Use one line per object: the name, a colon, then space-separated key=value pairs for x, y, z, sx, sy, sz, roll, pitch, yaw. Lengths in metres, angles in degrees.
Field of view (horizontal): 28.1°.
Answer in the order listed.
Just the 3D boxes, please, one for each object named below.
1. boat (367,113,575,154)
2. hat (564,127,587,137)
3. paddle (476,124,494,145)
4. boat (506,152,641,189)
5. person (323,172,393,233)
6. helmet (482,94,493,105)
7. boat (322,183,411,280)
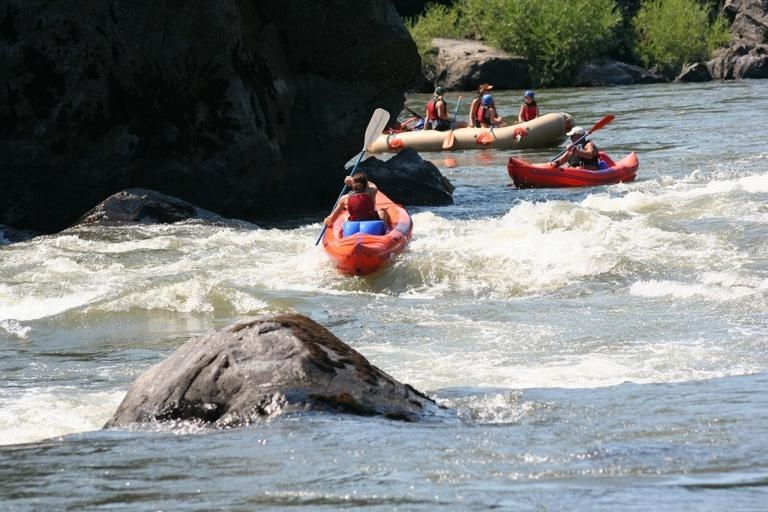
boat: x=1.915 y=-2.801 z=36.165 sx=4.317 sy=0.582 sz=1.842 roll=-3 pitch=4 yaw=19
hat: x=4.003 y=-2.572 z=31.327 sx=0.567 sy=0.185 sz=0.351 roll=-4 pitch=3 yaw=-21
paddle: x=2.300 y=-2.805 z=35.833 sx=0.419 sy=0.349 sz=0.249 roll=-4 pitch=18 yaw=7
boat: x=3.832 y=-1.668 z=30.766 sx=2.132 sy=0.530 sz=0.963 roll=-4 pitch=9 yaw=-12
person: x=-0.504 y=-1.028 z=26.380 sx=0.865 sy=0.531 sz=1.148 roll=-2 pitch=18 yaw=-1
helmet: x=2.383 y=-3.735 z=36.377 sx=0.230 sy=0.275 sz=0.372 roll=-8 pitch=17 yaw=-5
boat: x=-0.388 y=-0.159 z=25.654 sx=1.304 sy=0.593 sz=2.282 roll=-2 pitch=21 yaw=10
